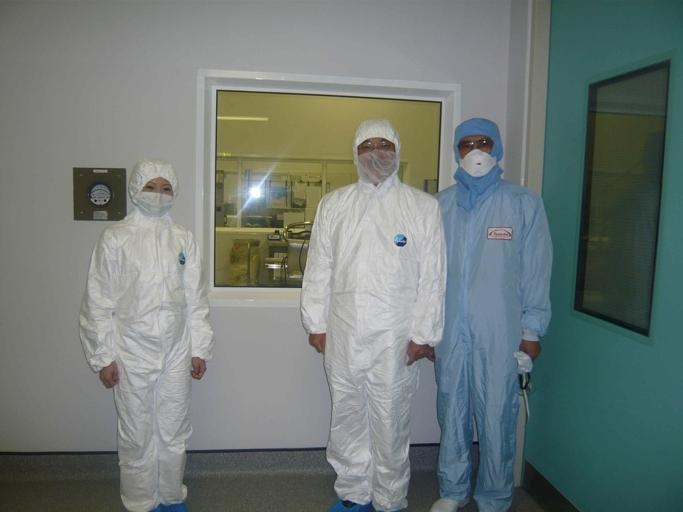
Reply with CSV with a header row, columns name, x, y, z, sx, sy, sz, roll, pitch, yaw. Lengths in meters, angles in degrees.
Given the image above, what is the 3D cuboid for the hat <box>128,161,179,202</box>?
name,x,y,z,sx,sy,sz,roll,pitch,yaw
hat,-1.017,-0.403,3.160,0.169,0.152,0.207,21,27,39

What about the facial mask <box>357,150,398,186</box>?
name,x,y,z,sx,sy,sz,roll,pitch,yaw
facial mask,0.208,-0.501,3.214,0.236,0.163,0.251,-5,25,-5

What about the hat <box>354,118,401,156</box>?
name,x,y,z,sx,sy,sz,roll,pitch,yaw
hat,0.168,-0.665,3.231,0.205,0.174,0.238,-3,-7,3

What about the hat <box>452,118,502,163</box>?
name,x,y,z,sx,sy,sz,roll,pitch,yaw
hat,0.762,-0.640,3.301,0.331,0.288,0.352,4,12,23

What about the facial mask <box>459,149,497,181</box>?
name,x,y,z,sx,sy,sz,roll,pitch,yaw
facial mask,0.697,-0.471,3.129,0.135,0.095,0.150,-5,10,13
